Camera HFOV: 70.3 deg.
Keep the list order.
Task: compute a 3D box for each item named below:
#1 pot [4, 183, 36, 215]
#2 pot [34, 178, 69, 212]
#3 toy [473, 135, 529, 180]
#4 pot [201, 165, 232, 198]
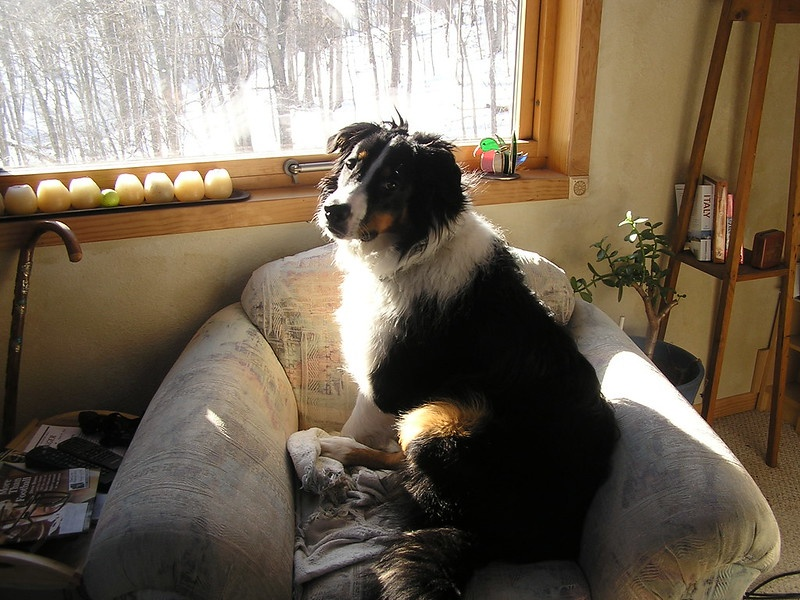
[{"bbox_3d":[-1.420,-0.375,2.134,0.111,0.129,0.113,2,4,0],"label":"pot"},{"bbox_3d":[-1.315,-0.398,2.198,0.124,0.121,0.114,1,32,0],"label":"pot"},{"bbox_3d":[0.458,-0.667,2.714,0.243,0.223,0.213,8,30,1],"label":"toy"},{"bbox_3d":[-0.736,-0.479,2.353,0.119,0.120,0.111,2,38,-2],"label":"pot"}]
